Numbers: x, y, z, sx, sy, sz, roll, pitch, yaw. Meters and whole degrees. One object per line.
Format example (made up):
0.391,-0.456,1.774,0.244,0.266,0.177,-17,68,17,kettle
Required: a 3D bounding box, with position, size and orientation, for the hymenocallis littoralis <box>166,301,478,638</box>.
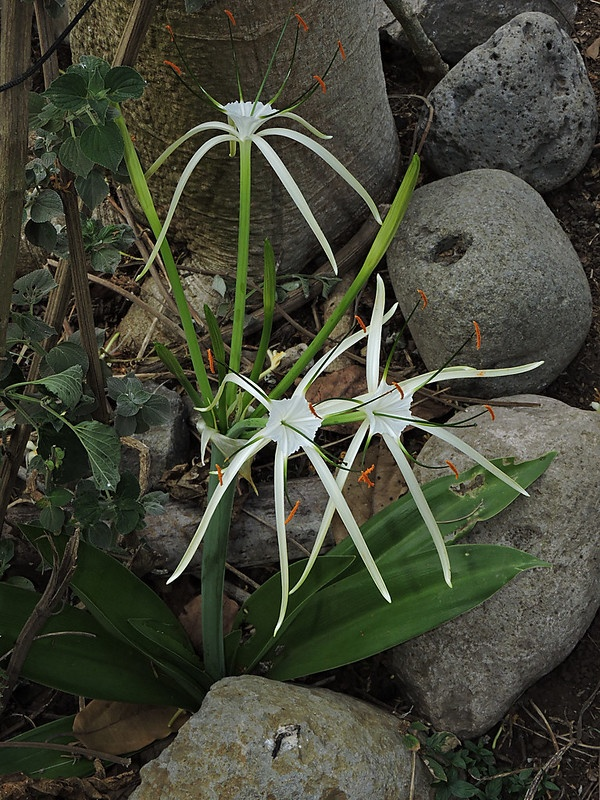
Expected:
0.044,0.042,0.843,0.457,0.139,0.387,0,75,11,hymenocallis littoralis
